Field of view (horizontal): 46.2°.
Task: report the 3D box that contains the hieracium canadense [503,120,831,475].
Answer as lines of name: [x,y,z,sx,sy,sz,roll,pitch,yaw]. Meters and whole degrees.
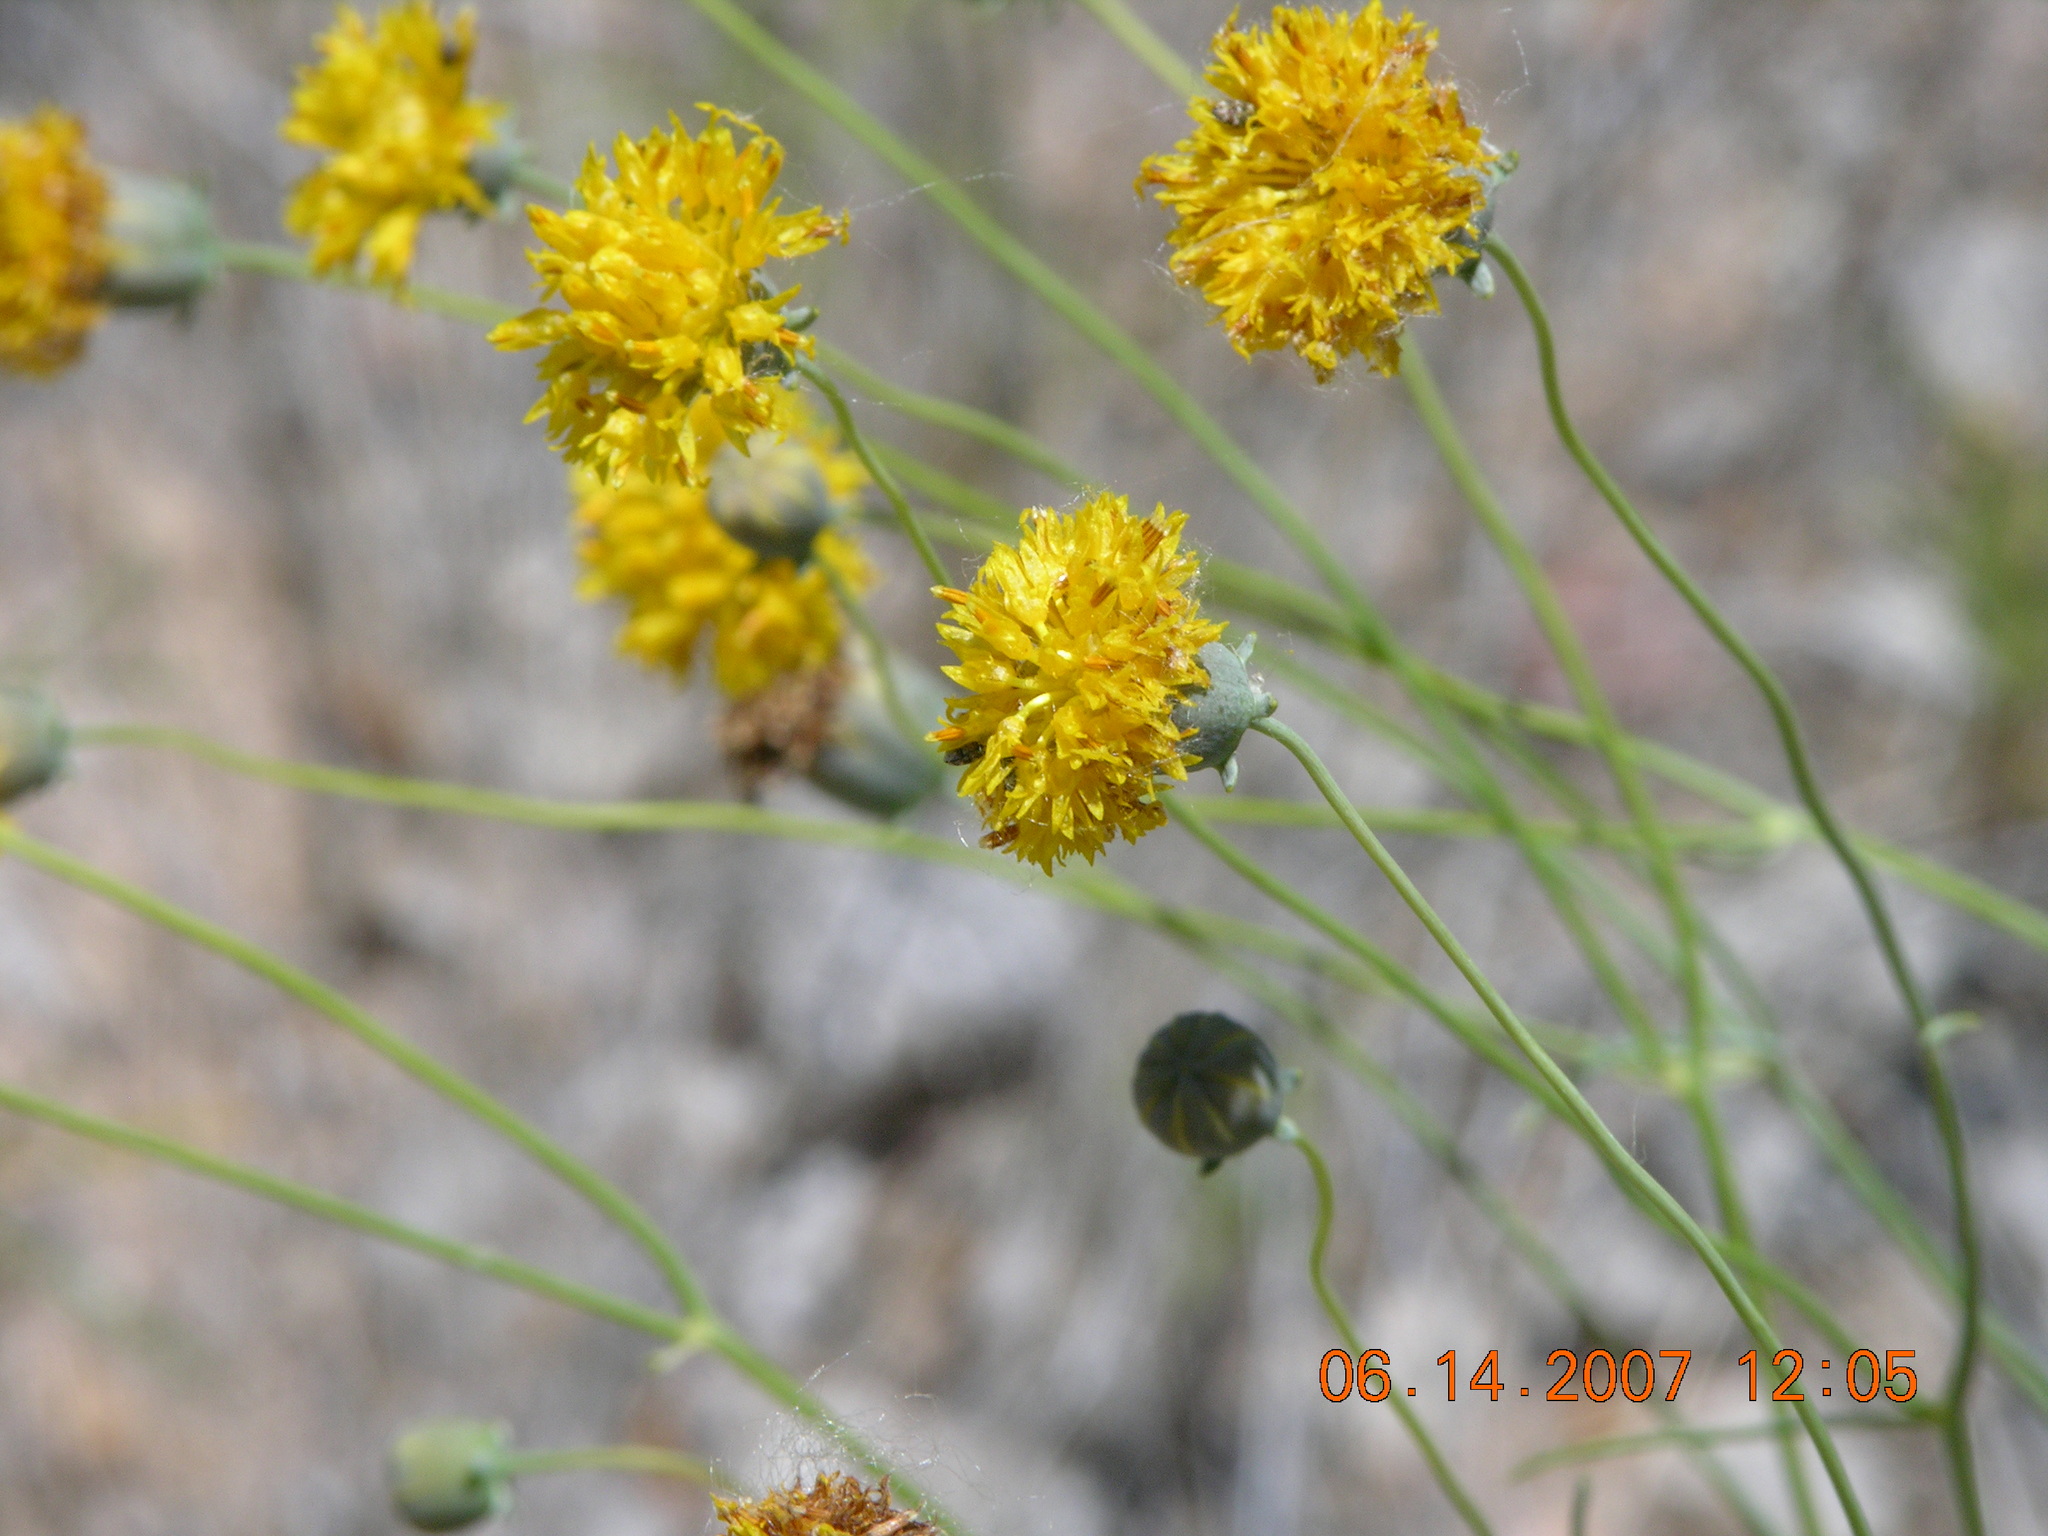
hieracium canadense: [-0.100,-0.126,0.635,0.070,0.073,0.049,14,-60,45]

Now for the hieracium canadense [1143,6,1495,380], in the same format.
hieracium canadense: [0.078,-0.162,0.634,0.087,0.068,0.092,38,-75,-10]

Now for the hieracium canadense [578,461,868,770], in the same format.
hieracium canadense: [-0.091,-0.052,0.750,0.060,0.064,0.062,28,-90,20]

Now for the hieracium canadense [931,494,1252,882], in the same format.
hieracium canadense: [0.013,-0.035,0.624,0.066,0.089,0.069,5,-18,-5]
